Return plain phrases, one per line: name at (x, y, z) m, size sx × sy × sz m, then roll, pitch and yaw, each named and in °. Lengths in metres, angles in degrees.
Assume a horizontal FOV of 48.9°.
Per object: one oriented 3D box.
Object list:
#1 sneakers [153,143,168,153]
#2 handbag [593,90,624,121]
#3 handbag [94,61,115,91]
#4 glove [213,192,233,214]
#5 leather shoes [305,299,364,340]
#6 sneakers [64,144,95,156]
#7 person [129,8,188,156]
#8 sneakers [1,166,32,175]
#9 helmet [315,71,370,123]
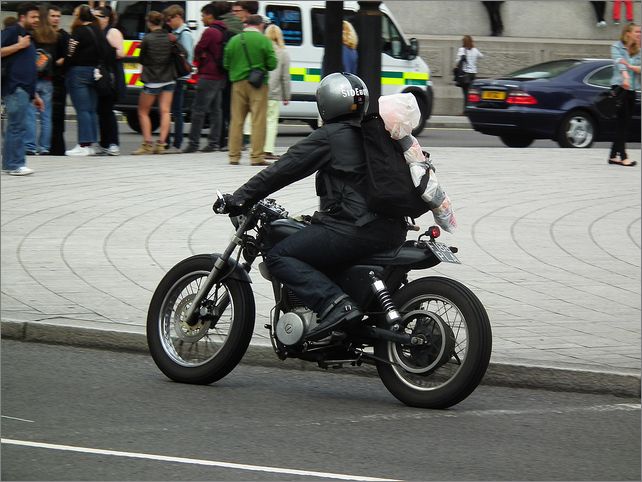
sneakers at (-3.161, -1.842, 13.843) m, size 0.214 × 0.185 × 0.524 m, roll -2°, pitch 11°, yaw -10°
handbag at (5.140, -2.478, 12.477) m, size 0.459 × 0.516 × 0.307 m, roll 5°, pitch 7°, yaw 10°
handbag at (-3.953, -2.988, 12.917) m, size 0.389 × 0.575 × 0.278 m, roll -2°, pitch 9°, yaw -39°
glove at (-0.613, -0.244, 4.499) m, size 0.163 × 0.127 × 0.051 m, roll 17°, pitch 20°, yaw 41°
leather shoes at (0.003, 0.473, 4.312) m, size 0.459 × 0.163 × 0.151 m, roll -25°, pitch -42°, yaw 20°
sneakers at (-4.657, -1.761, 13.643) m, size 0.686 × 0.203 × 0.210 m, roll 0°, pitch 4°, yaw -4°
person at (-3.059, -2.998, 13.460) m, size 0.929 × 2.692 × 0.676 m, roll 2°, pitch 7°, yaw -13°
sneakers at (-4.906, -1.137, 11.296) m, size 0.539 × 0.166 × 0.165 m, roll -1°, pitch 10°, yaw 4°
helmet at (0.070, -0.944, 4.640) m, size 0.359 × 0.326 × 0.377 m, roll -4°, pitch 23°, yaw -14°
